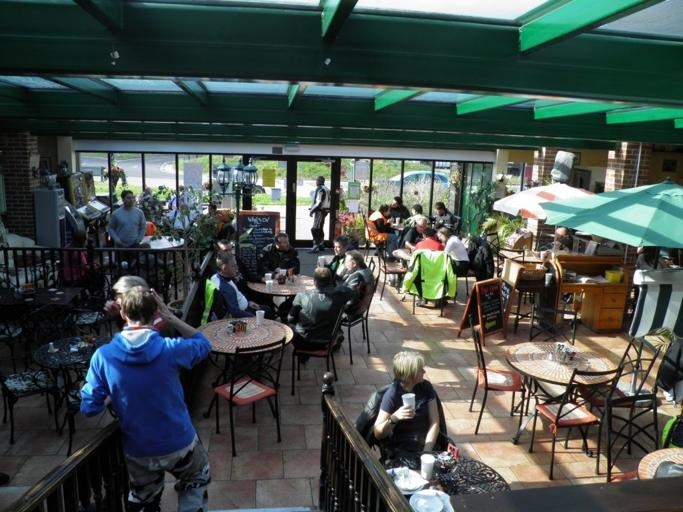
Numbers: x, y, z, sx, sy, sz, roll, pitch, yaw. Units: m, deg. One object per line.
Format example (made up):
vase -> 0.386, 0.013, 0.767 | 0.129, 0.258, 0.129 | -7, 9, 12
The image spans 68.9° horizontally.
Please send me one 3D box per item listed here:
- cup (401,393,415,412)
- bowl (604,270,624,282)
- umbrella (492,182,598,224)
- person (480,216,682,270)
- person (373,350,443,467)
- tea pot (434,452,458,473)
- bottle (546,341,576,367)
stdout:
cup -> 0.554, 1.215, 4.113 | 0.162, 0.119, 0.139 | -2, 2, -1
bowl -> 5.182, 0.392, 9.443 | 0.299, 0.163, 0.236 | 1, 3, 17
umbrella -> 4.172, -1.146, 10.090 | 1.814, 0.493, 1.699 | -4, 5, -35
person -> 4.393, -0.172, 9.186 | 1.255, 0.327, 1.645 | -8, 20, -27
person -> 0.612, 1.326, 4.310 | 0.639, 0.950, 0.597 | -3, 10, -12
tea pot -> 0.830, 1.640, 3.925 | 0.123, 0.043, 0.139 | 1, 17, -3
bottle -> 2.665, 1.194, 6.005 | 0.251, 0.093, 0.304 | 4, 12, 16
